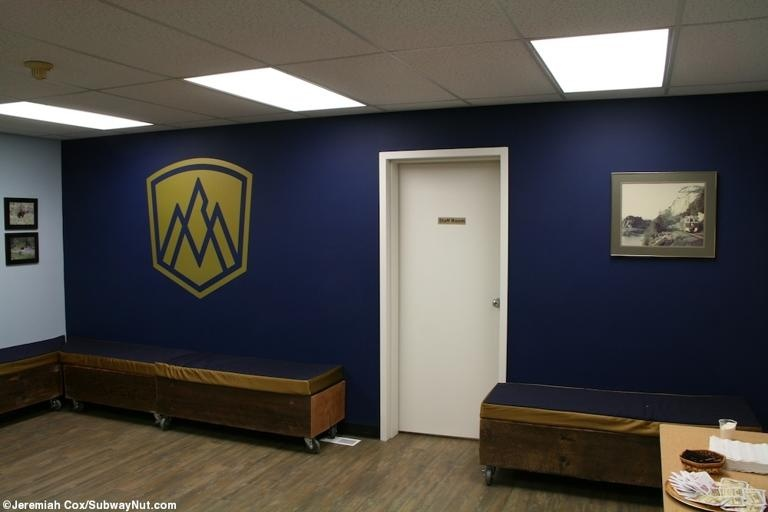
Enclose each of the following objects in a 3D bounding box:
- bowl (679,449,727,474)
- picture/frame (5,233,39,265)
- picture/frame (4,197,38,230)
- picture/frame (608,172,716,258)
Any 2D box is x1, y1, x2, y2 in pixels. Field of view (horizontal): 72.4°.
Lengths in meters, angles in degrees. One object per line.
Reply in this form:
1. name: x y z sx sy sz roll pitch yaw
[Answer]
1. bowl: 1.962 1.262 3.237 0.207 0.091 0.197 -1 9 0
2. picture/frame: -4.486 -0.100 6.460 0.029 0.421 0.401 -1 2 32
3. picture/frame: -4.484 -0.532 6.437 0.033 0.415 0.435 0 1 35
4. picture/frame: 2.527 -0.381 4.679 0.799 0.699 0.027 1 1 15
